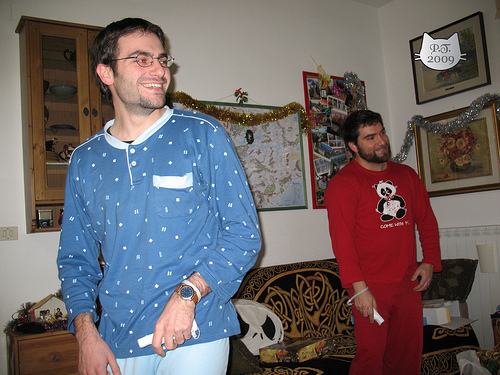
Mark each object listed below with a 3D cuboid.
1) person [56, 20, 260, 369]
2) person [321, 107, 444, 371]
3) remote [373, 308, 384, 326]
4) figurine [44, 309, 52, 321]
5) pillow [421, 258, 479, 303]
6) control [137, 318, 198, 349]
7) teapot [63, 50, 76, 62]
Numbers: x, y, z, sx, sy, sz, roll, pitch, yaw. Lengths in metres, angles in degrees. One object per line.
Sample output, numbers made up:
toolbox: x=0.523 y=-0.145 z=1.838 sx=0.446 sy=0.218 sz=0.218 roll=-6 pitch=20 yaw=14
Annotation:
person: x=-0.414 y=-0.015 z=1.510 sx=0.802 sy=1.117 sz=0.402 roll=-7 pitch=-2 yaw=32
person: x=0.891 y=0.318 z=2.621 sx=0.798 sy=1.787 sz=0.432 roll=-5 pitch=-2 yaw=-34
remote: x=0.772 y=0.780 z=2.347 sx=0.054 sy=0.104 sz=0.041 roll=-7 pitch=-2 yaw=14
figurine: x=-1.493 y=0.943 z=2.863 sx=0.055 sy=0.031 sz=0.101 roll=2 pitch=23 yaw=-26
pillow: x=1.753 y=0.801 z=3.372 sx=0.143 sy=0.513 sz=0.472 roll=35 pitch=-24 yaw=-34
control: x=-0.286 y=0.514 z=1.349 sx=0.210 sy=0.076 sz=0.103 roll=-7 pitch=-1 yaw=-11
teapot: x=-1.437 y=-1.054 z=3.104 sx=0.058 sy=0.095 sz=0.091 roll=34 pitch=48 yaw=31
